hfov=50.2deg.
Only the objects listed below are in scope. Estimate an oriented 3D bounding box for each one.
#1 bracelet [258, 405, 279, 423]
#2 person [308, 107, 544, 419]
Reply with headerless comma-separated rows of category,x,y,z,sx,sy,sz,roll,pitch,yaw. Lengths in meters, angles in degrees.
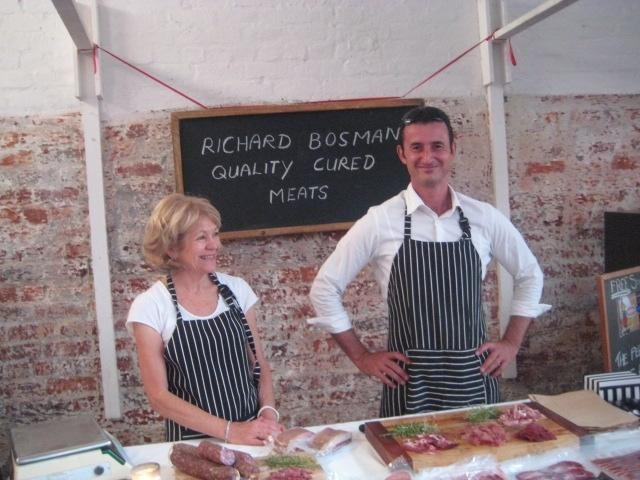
bracelet,-0.252,0.850,3.371,0.092,0.074,0.034,0,2,9
person,0.581,0.097,3.592,1.225,1.446,0.523,-7,1,-13
